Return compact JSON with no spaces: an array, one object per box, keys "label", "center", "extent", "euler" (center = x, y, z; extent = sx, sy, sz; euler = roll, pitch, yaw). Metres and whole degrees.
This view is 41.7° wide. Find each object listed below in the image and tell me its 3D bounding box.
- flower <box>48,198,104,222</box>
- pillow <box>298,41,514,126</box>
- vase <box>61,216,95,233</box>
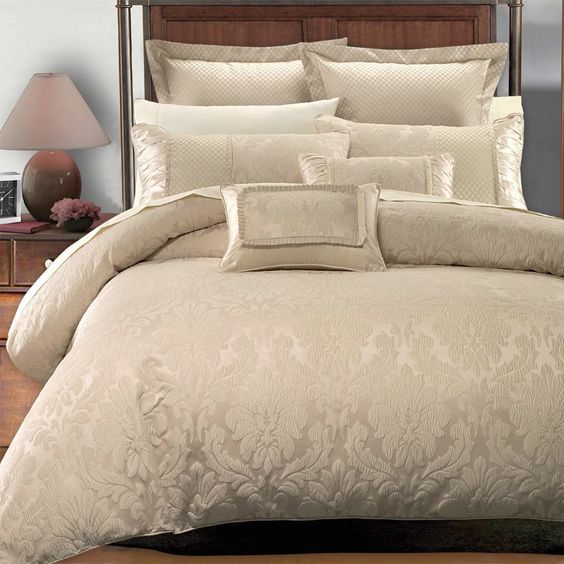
[{"label":"flower","center":[-0.799,-0.278,2.841],"extent":[0.166,0.068,0.161],"euler":[0,5,-16]},{"label":"pillow","center":[0.466,-0.773,2.886],"extent":[0.478,0.317,0.111],"euler":[1,-28,3]},{"label":"vase","center":[-0.777,-0.212,2.794],"extent":[0.078,0.036,0.077],"euler":[-2,-2,16]}]
